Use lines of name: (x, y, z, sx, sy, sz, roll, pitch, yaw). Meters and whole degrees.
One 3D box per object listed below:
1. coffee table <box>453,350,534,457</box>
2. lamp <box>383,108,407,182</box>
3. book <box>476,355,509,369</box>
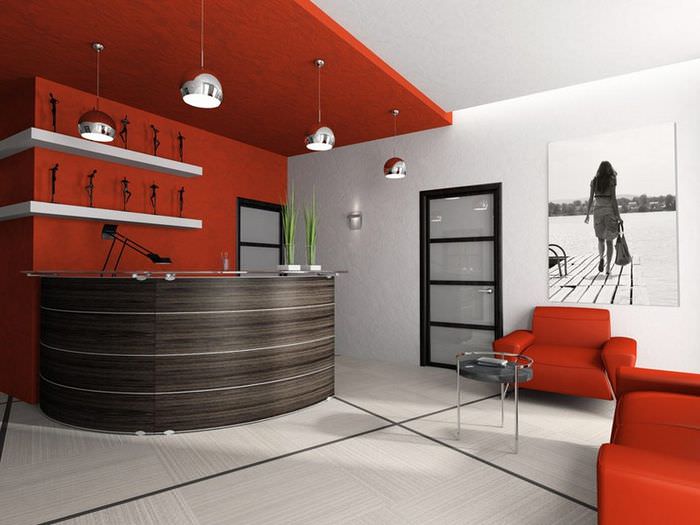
coffee table: (1.260, 1.234, 5.011, 0.831, 0.937, 0.760, -4, -7, 40)
lamp: (0.614, -1.529, 6.970, 0.277, 0.895, 0.961, 1, 11, 6)
book: (1.307, 0.916, 4.884, 0.273, 0.060, 0.382, 3, 11, 15)
